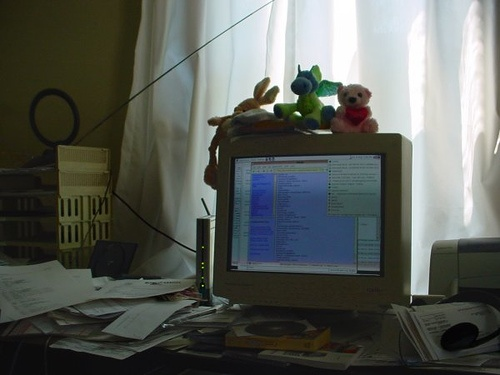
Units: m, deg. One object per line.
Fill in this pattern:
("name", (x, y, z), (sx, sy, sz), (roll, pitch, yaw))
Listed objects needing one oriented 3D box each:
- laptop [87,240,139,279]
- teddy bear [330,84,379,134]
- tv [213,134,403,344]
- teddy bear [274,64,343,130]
("laptop", (-0.490, 0.258, 1.560), (0.127, 0.134, 0.041), (8, -14, 15))
("teddy bear", (0.272, -0.191, 1.284), (0.147, 0.180, 0.121), (0, -5, 5))
("tv", (0.125, 0.083, 1.431), (0.705, 0.710, 0.409), (1, -2, 12))
("teddy bear", (0.164, -0.258, 1.273), (0.184, 0.209, 0.110), (-1, -4, 12))
